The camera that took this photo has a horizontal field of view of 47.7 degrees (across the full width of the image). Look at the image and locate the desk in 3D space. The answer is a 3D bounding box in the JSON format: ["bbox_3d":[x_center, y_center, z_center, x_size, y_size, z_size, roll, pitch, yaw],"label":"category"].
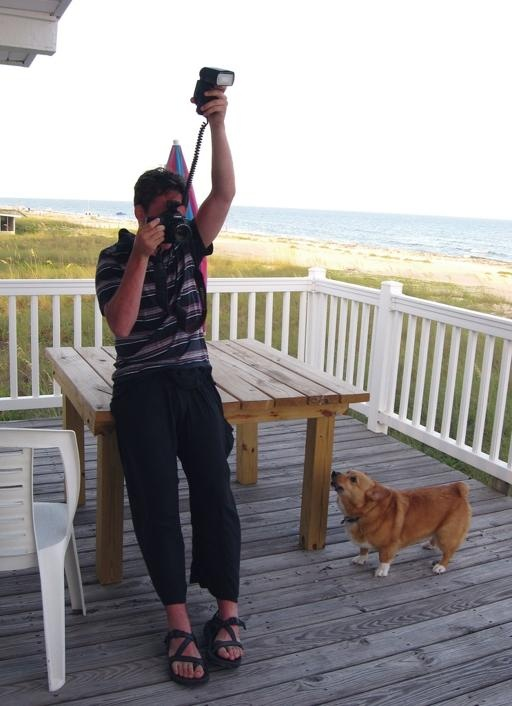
[{"bbox_3d":[-0.296,0.390,2.443,1.057,0.631,1.395,-1,7,-28],"label":"desk"}]
